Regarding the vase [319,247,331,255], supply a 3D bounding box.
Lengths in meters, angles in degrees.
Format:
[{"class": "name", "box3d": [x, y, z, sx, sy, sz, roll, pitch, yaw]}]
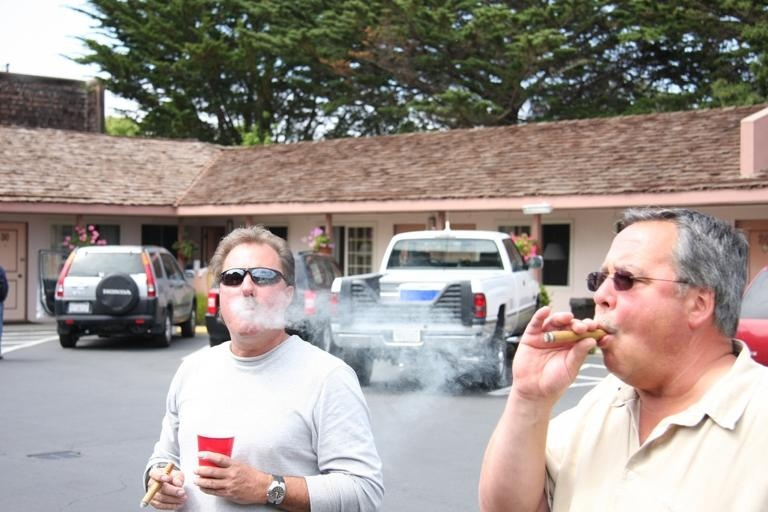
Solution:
[{"class": "vase", "box3d": [-1.392, -0.106, 23.181, 0.242, 0.250, 0.248, 0, 1, 38]}]

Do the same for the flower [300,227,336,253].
[{"class": "flower", "box3d": [-1.570, -0.363, 23.055, 0.722, 0.873, 0.630, -10, 18, -22]}]

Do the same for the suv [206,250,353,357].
[{"class": "suv", "box3d": [-1.372, 0.726, 15.900, 1.269, 1.192, 2.545, 1, 6, 15]}]

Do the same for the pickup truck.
[{"class": "pickup truck", "box3d": [0.700, 0.804, 15.101, 1.983, 1.606, 3.731, 0, 4, 15]}]
